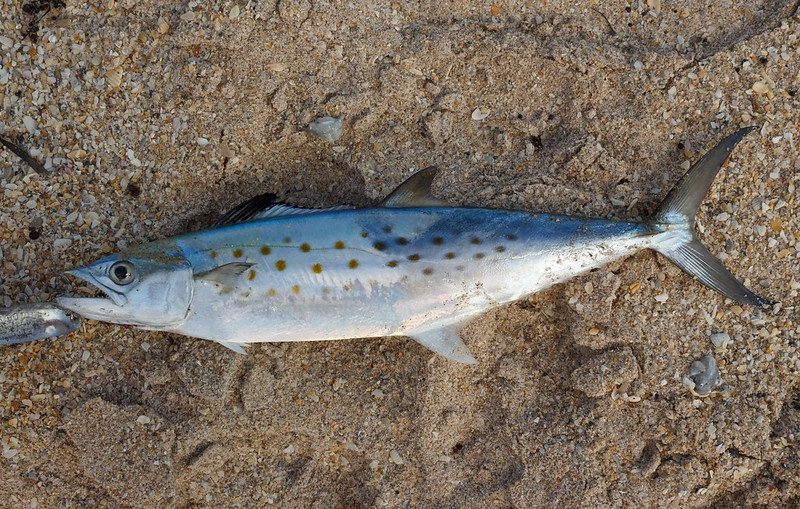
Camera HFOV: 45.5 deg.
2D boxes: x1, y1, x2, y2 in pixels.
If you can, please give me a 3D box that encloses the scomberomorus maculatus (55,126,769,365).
[{"bbox_3d":[0.227,-0.011,6.850,5.348,1.057,1.833,-4,100,-1],"label":"scomberomorus maculatus"}]
